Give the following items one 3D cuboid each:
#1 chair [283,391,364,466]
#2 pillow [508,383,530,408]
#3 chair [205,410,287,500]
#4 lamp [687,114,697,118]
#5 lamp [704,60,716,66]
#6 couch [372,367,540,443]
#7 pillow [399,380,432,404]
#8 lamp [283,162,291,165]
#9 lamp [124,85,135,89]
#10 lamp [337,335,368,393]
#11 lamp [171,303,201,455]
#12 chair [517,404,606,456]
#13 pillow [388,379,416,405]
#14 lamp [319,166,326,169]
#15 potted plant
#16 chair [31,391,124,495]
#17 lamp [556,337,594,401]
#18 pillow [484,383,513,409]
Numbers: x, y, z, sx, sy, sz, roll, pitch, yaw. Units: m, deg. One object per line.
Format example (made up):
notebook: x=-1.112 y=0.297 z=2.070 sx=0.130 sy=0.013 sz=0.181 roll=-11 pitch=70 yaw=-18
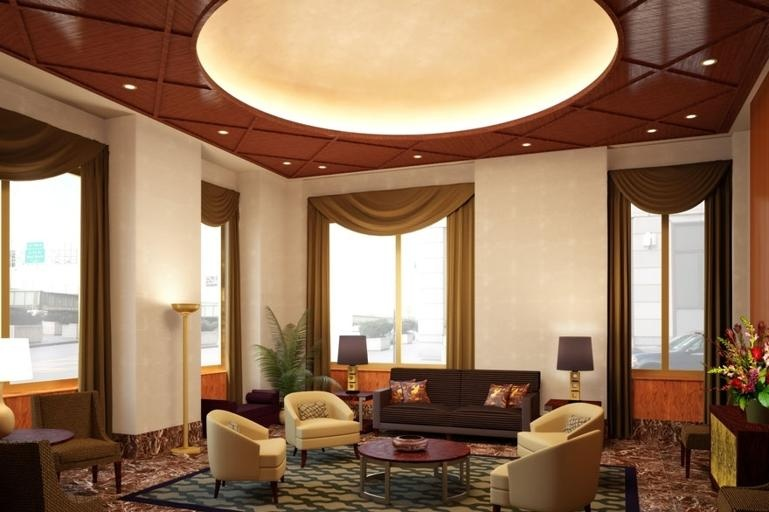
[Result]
chair: x=-0.998 y=2.482 z=8.225 sx=1.020 sy=0.906 sz=0.925 roll=7 pitch=-11 yaw=-42
pillow: x=2.164 y=2.258 z=9.036 sx=0.346 sy=0.328 sz=0.103 roll=6 pitch=-18 yaw=25
chair: x=-1.723 y=2.415 z=7.042 sx=1.054 sy=0.990 sz=1.066 roll=0 pitch=-6 yaw=-4
lamp: x=4.511 y=-2.045 z=8.136 sx=0.149 sy=0.034 sz=0.187 roll=2 pitch=3 yaw=13
lamp: x=3.909 y=-2.320 z=6.653 sx=0.154 sy=0.038 sz=0.122 roll=1 pitch=3 yaw=-4
couch: x=1.190 y=2.510 z=9.376 sx=2.559 sy=1.029 sz=0.924 roll=-3 pitch=-7 yaw=21
pillow: x=0.512 y=2.329 z=9.528 sx=0.400 sy=0.358 sz=0.117 roll=-1 pitch=-25 yaw=1
lamp: x=-1.797 y=-1.712 z=10.211 sx=0.140 sy=0.035 sz=0.216 roll=1 pitch=3 yaw=-9
lamp: x=-3.340 y=-2.217 z=7.276 sx=0.143 sy=0.036 sz=0.152 roll=1 pitch=3 yaw=-10
lamp: x=-0.586 y=1.909 z=10.080 sx=0.496 sy=1.021 sz=0.762 roll=1 pitch=4 yaw=-5
lamp: x=-3.056 y=1.843 z=8.547 sx=0.407 sy=2.271 sz=0.865 roll=0 pitch=4 yaw=-21
chair: x=2.315 y=2.208 z=7.122 sx=0.925 sy=0.693 sz=0.959 roll=5 pitch=-12 yaw=-26
pillow: x=0.277 y=2.325 z=9.583 sx=0.372 sy=0.343 sz=0.110 roll=-4 pitch=-29 yaw=17
lamp: x=-1.160 y=-1.683 z=10.463 sx=0.142 sy=0.036 sz=0.229 roll=1 pitch=3 yaw=-7
potted plant: x=-1.758 y=1.943 z=11.200 sx=1.799 sy=1.693 sz=1.657 roll=-2 pitch=-5 yaw=0
chair: x=-3.819 y=2.283 z=6.848 sx=0.859 sy=1.086 sz=0.893 roll=6 pitch=-10 yaw=-43
lamp: x=2.999 y=1.768 z=8.864 sx=0.529 sy=1.023 sz=0.598 roll=2 pitch=4 yaw=5
pillow: x=1.873 y=2.288 z=9.112 sx=0.387 sy=0.360 sz=0.119 roll=-1 pitch=-30 yaw=44
